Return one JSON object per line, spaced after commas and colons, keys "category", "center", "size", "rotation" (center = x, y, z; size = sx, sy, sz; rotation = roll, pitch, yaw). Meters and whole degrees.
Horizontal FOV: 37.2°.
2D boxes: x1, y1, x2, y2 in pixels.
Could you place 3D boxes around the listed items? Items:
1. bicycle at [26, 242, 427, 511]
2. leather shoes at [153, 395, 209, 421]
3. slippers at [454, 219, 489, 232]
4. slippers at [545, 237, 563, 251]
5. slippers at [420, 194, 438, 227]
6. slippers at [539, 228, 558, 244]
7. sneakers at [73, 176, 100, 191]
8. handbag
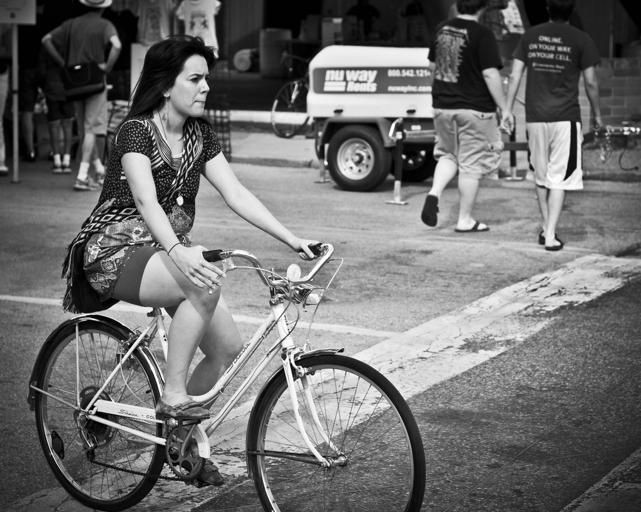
{"category": "bicycle", "center": [-0.346, 0.566, 4.611], "size": [2.028, 1.244, 0.888], "rotation": [3, 2, 23]}
{"category": "leather shoes", "center": [-0.596, 0.649, 4.063], "size": [0.182, 0.073, 0.105], "rotation": [-1, 5, 8]}
{"category": "slippers", "center": [1.293, -0.251, 8.063], "size": [0.235, 0.072, 0.122], "rotation": [0, 12, -2]}
{"category": "slippers", "center": [1.997, -0.095, 8.178], "size": [0.161, 0.109, 0.089], "rotation": [-15, 15, -10]}
{"category": "slippers", "center": [0.923, -0.373, 8.037], "size": [0.154, 0.292, 0.105], "rotation": [-1, 15, -2]}
{"category": "slippers", "center": [1.940, -0.158, 8.150], "size": [0.077, 0.084, 0.214], "rotation": [-3, 5, -10]}
{"category": "sneakers", "center": [-2.590, -0.818, 10.716], "size": [0.363, 0.173, 0.142], "rotation": [0, 10, -20]}
{"category": "handbag", "center": [-2.594, -2.143, 10.391], "size": [0.525, 0.864, 0.238], "rotation": [-14, 11, -5]}
